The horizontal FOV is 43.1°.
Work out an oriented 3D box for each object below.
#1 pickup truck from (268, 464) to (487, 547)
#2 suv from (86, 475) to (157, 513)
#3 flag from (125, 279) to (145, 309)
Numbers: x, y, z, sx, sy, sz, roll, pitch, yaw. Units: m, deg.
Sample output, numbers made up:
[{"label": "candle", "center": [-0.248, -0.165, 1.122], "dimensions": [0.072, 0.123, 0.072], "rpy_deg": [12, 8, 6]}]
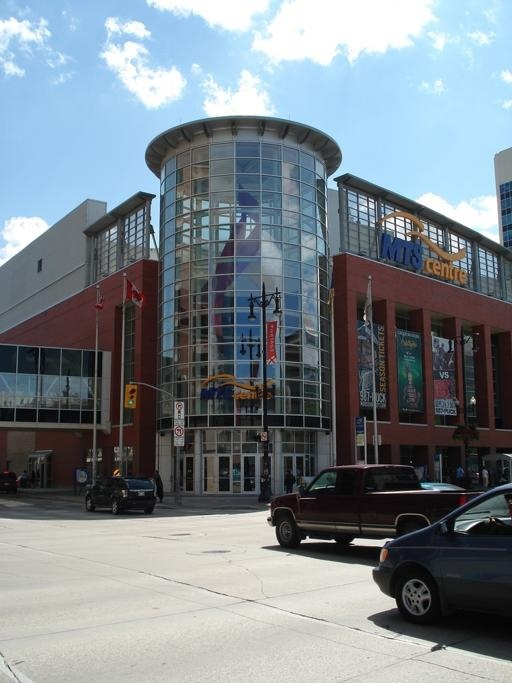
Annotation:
[{"label": "pickup truck", "center": [2.465, 3.373, 13.648], "dimensions": [1.901, 1.338, 4.042], "rpy_deg": [11, -16, -40]}, {"label": "suv", "center": [-5.783, 6.494, 27.751], "dimensions": [1.731, 1.106, 3.110], "rpy_deg": [10, -12, -39]}, {"label": "flag", "center": [-8.647, -3.527, 46.411], "dimensions": [0.183, 1.964, 2.116], "rpy_deg": [-13, -23, 20]}]
